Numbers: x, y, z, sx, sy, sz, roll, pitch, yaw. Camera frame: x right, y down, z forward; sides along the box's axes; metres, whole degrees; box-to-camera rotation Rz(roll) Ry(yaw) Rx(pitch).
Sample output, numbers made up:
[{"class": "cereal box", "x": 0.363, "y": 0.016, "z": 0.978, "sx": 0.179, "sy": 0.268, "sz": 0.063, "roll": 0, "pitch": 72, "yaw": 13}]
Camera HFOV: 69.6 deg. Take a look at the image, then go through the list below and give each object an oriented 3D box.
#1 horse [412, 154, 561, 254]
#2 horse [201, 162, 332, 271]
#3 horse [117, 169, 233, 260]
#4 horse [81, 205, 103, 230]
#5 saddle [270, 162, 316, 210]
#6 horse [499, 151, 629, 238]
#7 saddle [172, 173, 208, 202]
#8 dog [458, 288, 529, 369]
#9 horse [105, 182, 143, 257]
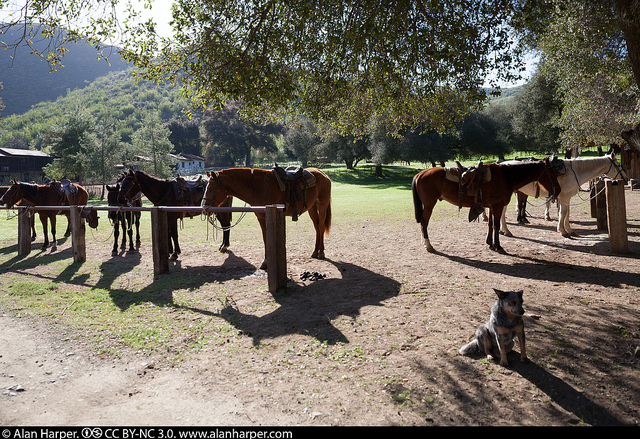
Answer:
[{"class": "horse", "x": 4.832, "y": -0.454, "z": 13.580, "sx": 3.907, "sy": 2.725, "sz": 1.244, "roll": -2, "pitch": 12, "yaw": 2}, {"class": "horse", "x": -1.250, "y": -0.078, "z": 13.071, "sx": 4.235, "sy": 2.940, "sz": 1.047, "roll": -6, "pitch": 2, "yaw": -37}, {"class": "horse", "x": -4.382, "y": -0.167, "z": 14.632, "sx": 3.758, "sy": 2.684, "sz": 1.000, "roll": -2, "pitch": 0, "yaw": -29}, {"class": "horse", "x": -8.008, "y": -0.045, "z": 16.078, "sx": 0.654, "sy": 0.952, "sz": 0.275, "roll": 7, "pitch": 18, "yaw": 19}, {"class": "saddle", "x": -0.784, "y": -1.030, "z": 12.814, "sx": 0.594, "sy": 1.026, "sz": 1.900, "roll": 14, "pitch": 12, "yaw": 38}, {"class": "horse", "x": 7.699, "y": -0.662, "z": 15.034, "sx": 3.956, "sy": 2.711, "sz": 0.985, "roll": 2, "pitch": -8, "yaw": 26}, {"class": "saddle", "x": -4.180, "y": -0.936, "z": 14.590, "sx": 1.234, "sy": 0.914, "sz": 0.810, "roll": -4, "pitch": 2, "yaw": -24}, {"class": "dog", "x": 3.344, "y": 1.996, "z": 8.681, "sx": 0.781, "sy": 1.300, "sz": 1.677, "roll": 1, "pitch": -10, "yaw": -16}, {"class": "horse", "x": -6.663, "y": -0.111, "z": 15.541, "sx": 0.763, "sy": 2.431, "sz": 2.911, "roll": -3, "pitch": 6, "yaw": -10}]
